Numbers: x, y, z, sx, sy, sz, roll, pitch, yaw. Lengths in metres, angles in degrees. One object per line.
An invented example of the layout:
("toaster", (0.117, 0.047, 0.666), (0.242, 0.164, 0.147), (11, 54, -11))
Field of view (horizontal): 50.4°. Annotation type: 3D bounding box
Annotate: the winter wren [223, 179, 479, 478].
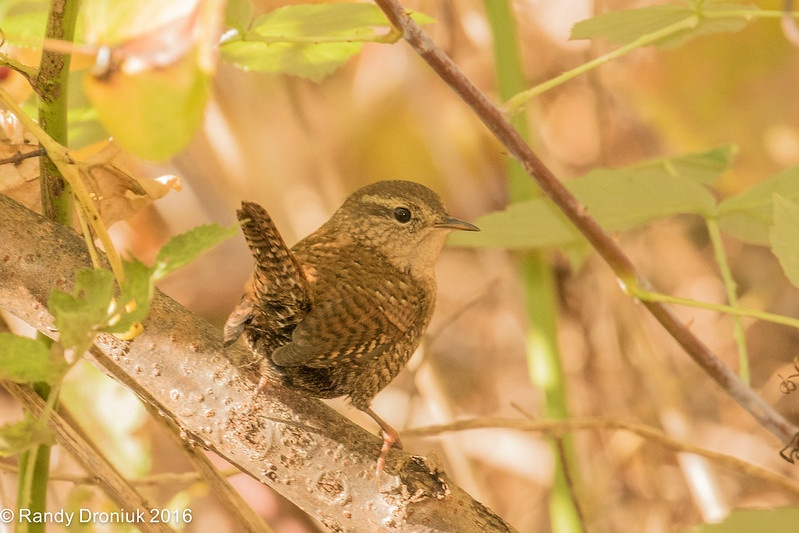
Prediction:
("winter wren", (-0.281, 0.080, 2.459), (0.520, 0.671, 0.856), (22, 18, 20))
